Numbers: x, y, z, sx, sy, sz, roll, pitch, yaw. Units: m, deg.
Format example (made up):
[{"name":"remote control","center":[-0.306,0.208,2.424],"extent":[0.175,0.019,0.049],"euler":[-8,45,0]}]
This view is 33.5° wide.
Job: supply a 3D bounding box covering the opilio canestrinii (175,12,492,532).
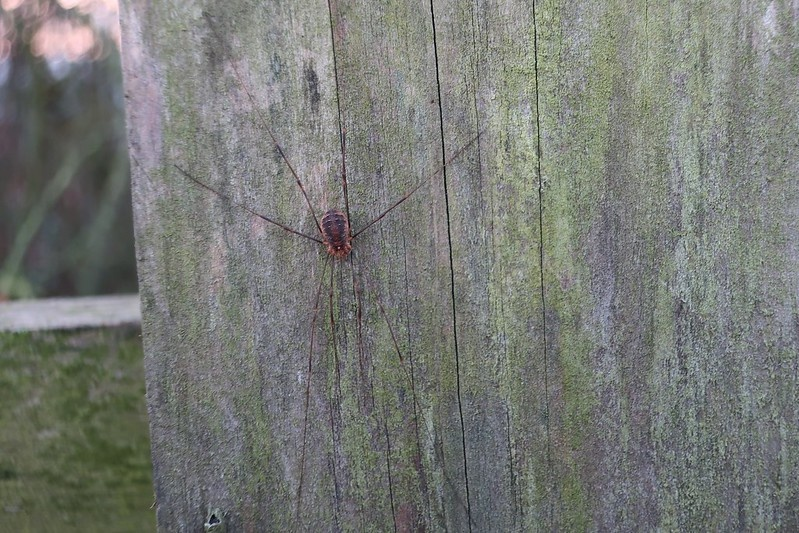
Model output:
[{"name":"opilio canestrinii","center":[-0.332,-0.021,6.221],"extent":[1.246,2.387,0.342],"euler":[1,9,9]}]
